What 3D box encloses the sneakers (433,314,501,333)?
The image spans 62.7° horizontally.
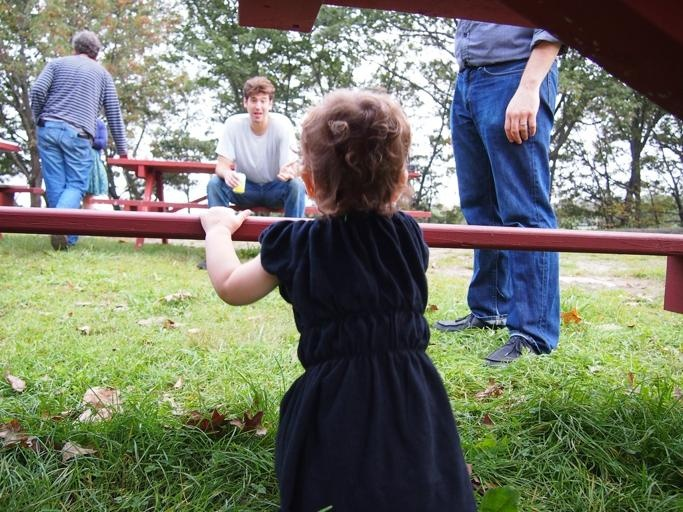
[{"bbox_3d":[0.742,0.377,3.277,0.370,0.145,0.132,1,-6,20],"label":"sneakers"}]

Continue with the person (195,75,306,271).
[{"bbox_3d":[-0.691,-0.735,4.866,0.845,1.582,1.035,1,5,12],"label":"person"}]

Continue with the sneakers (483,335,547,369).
[{"bbox_3d":[0.815,0.417,2.643,0.273,0.114,0.117,-11,18,-30],"label":"sneakers"}]

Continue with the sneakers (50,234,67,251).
[{"bbox_3d":[-2.678,-0.126,5.291,0.097,0.167,0.087,-10,50,-39],"label":"sneakers"}]
